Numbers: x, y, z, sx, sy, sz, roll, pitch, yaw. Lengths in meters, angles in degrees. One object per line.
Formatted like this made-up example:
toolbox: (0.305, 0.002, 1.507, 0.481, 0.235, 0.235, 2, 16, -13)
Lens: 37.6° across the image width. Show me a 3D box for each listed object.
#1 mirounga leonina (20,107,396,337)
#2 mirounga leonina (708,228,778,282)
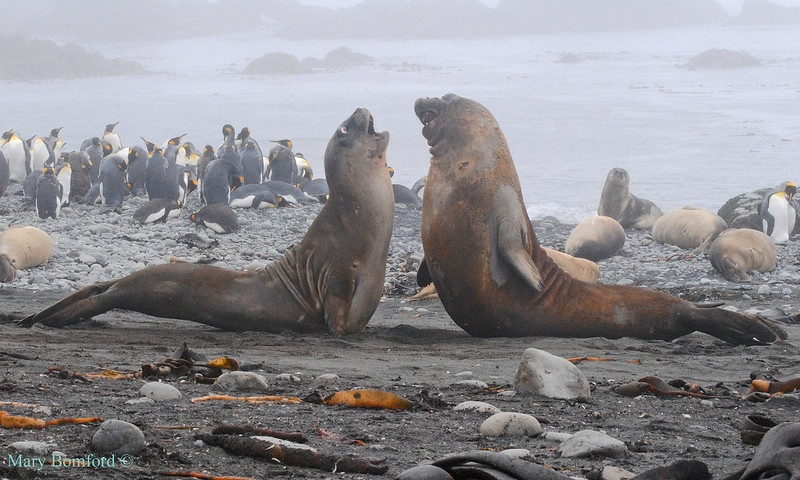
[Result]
mirounga leonina: (-2.682, 0.011, 17.326, 7.085, 2.900, 2.163, -5, 5, 31)
mirounga leonina: (5.788, 0.241, 19.848, 0.757, 0.445, 1.215, 12, 17, 32)
